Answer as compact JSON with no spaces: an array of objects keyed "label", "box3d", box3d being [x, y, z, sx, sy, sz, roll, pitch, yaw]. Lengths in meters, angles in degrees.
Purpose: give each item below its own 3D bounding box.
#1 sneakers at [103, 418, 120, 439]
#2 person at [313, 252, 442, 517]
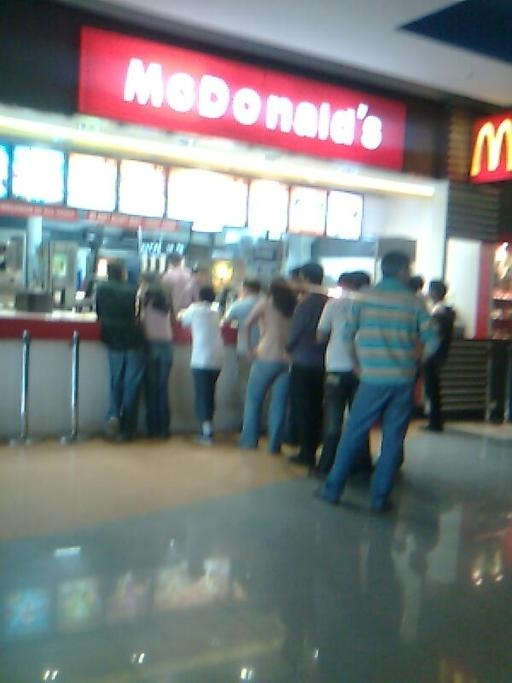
[{"label":"sneakers","box3d":[-1.105,0.667,4.114,0.081,0.196,0.160,5,4,-12]},{"label":"person","box3d":[0.651,0.146,2.881,0.425,1.620,0.427,2,30,5]}]
